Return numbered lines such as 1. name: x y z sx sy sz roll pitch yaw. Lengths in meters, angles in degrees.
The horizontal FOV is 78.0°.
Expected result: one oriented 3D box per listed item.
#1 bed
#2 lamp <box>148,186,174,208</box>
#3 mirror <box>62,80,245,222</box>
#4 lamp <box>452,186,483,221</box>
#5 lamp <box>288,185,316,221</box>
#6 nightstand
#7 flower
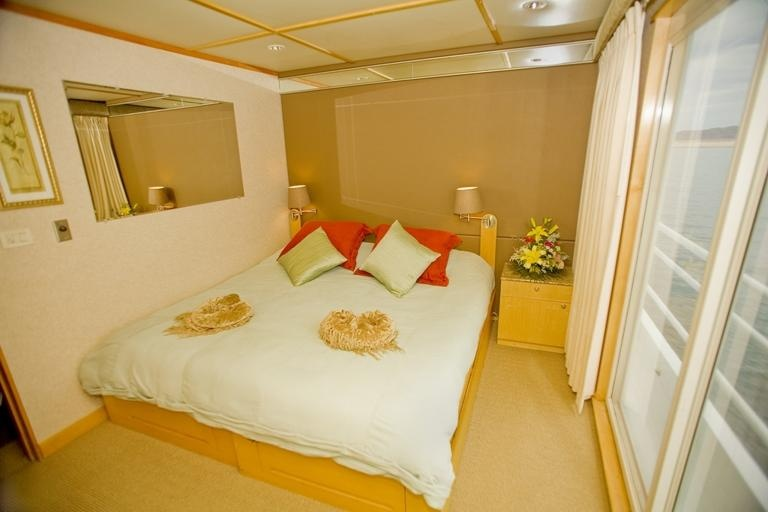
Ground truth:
1. bed: -0.664 0.808 4.355 3.011 1.282 2.251 5 17 18
2. lamp: -1.993 -0.515 4.238 0.177 0.194 0.179 14 22 20
3. mirror: -2.060 -0.925 4.139 0.025 0.921 1.418 10 17 34
4. lamp: 0.873 -0.528 4.859 0.336 0.335 0.290 -6 18 10
5. lamp: -0.951 -0.626 5.491 0.331 0.363 0.278 -2 19 1
6. nightstand: 1.519 0.495 4.785 0.806 0.733 0.742 14 23 36
7. flower: 1.497 -0.052 4.668 0.372 0.208 0.528 6 -26 26
